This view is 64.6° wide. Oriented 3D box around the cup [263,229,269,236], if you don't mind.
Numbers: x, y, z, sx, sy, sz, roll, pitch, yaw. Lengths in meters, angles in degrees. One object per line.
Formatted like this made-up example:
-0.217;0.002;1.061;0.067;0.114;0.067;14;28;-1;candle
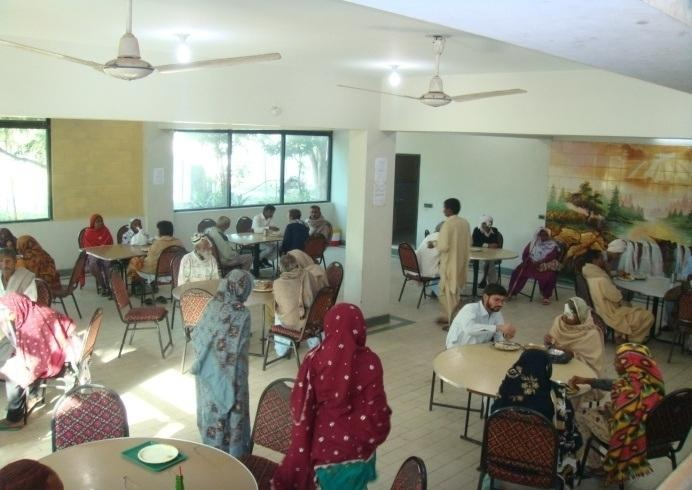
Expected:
-1.456;-0.245;10.102;0.113;0.145;0.151;-2;5;-11;cup

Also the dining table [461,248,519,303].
2.337;0.479;9.125;0.931;0.627;0.955;5;7;25;dining table

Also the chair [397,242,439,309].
1.191;0.381;8.724;0.577;0.950;0.647;1;-11;-30;chair

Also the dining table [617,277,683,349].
4.800;1.174;8.747;0.484;0.446;0.880;18;-1;-7;dining table

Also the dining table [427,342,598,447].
1.246;1.452;4.734;0.985;0.402;1.006;14;23;21;dining table

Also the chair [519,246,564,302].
3.236;0.422;9.453;0.740;1.111;0.699;12;3;21;chair

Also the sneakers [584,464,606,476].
1.889;1.721;4.193;0.135;0.050;0.082;-11;20;-16;sneakers

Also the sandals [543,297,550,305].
3.342;0.936;9.225;0.130;0.105;0.261;-1;-1;15;sandals

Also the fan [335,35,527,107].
0.795;-1.613;4.979;1.475;0.584;1.265;-9;29;-20;fan

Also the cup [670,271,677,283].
4.782;0.465;8.064;0.089;0.152;0.093;-1;11;0;cup
